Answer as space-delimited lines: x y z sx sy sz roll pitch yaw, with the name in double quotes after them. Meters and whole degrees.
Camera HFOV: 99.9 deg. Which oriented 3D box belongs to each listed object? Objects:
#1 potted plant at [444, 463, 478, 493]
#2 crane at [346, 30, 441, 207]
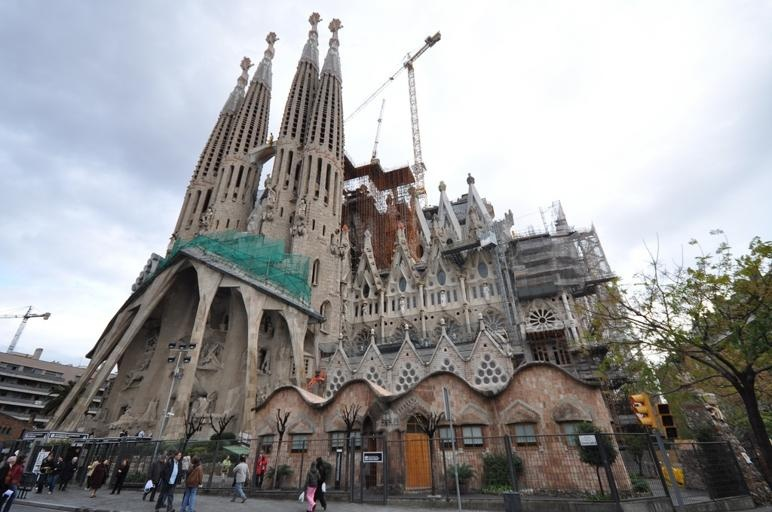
3.436 10.121 14.935 1.716 1.109 0.960 26 -41 -35 "potted plant"
13.959 -33.504 90.900 11.011 62.264 30.196 3 -5 -10 "crane"
